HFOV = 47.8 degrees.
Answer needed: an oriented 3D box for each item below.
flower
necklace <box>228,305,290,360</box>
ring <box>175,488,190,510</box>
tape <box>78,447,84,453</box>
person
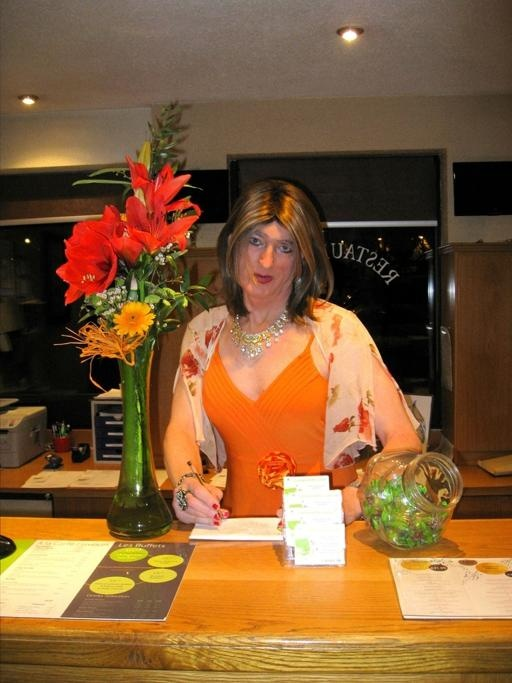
[{"bbox_3d":[-0.222,-0.107,1.088,0.295,0.718,0.356,-4,-5,39],"label":"flower"},{"bbox_3d":[0.006,-0.028,1.529,0.137,0.052,0.123,6,35,7],"label":"necklace"},{"bbox_3d":[-0.146,0.307,1.120,0.015,0.031,0.033,1,-21,-31],"label":"ring"},{"bbox_3d":[-0.904,0.555,2.973,0.035,0.035,0.022,4,0,31],"label":"tape"},{"bbox_3d":[0.059,0.092,1.467,0.674,0.858,0.529,1,10,9],"label":"person"}]
